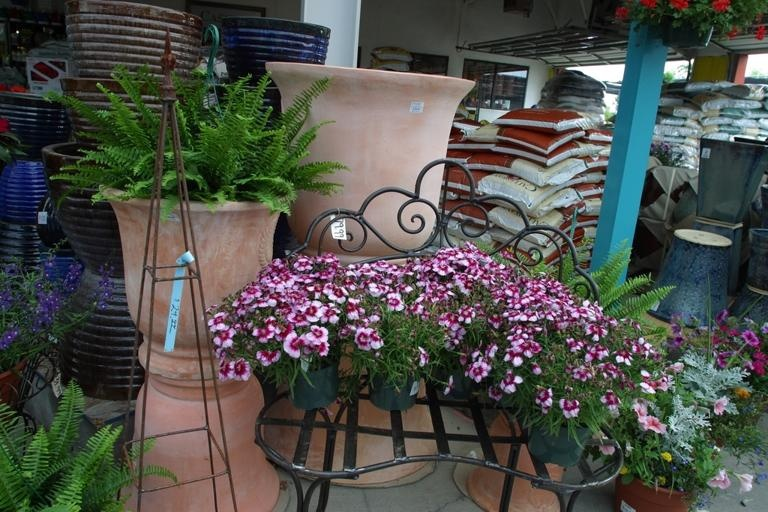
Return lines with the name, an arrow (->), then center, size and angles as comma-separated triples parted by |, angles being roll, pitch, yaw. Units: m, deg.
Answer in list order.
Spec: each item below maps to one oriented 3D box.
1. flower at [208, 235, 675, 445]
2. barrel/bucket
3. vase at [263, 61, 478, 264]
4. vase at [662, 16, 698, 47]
flower -> 0.166, 0.259, 1.889 | 1.251, 0.471, 0.854 | 0, 29, -9
barrel/bucket -> 2.002, 0.153, 3.370 | 0.514, 0.588, 0.537 | 4, 16, -1
vase -> -0.067, -0.414, 2.636 | 0.851, 0.732, 0.866 | 0, 8, -16
vase -> 1.670, -1.250, 2.938 | 0.142, 0.124, 0.164 | -4, 12, -20
